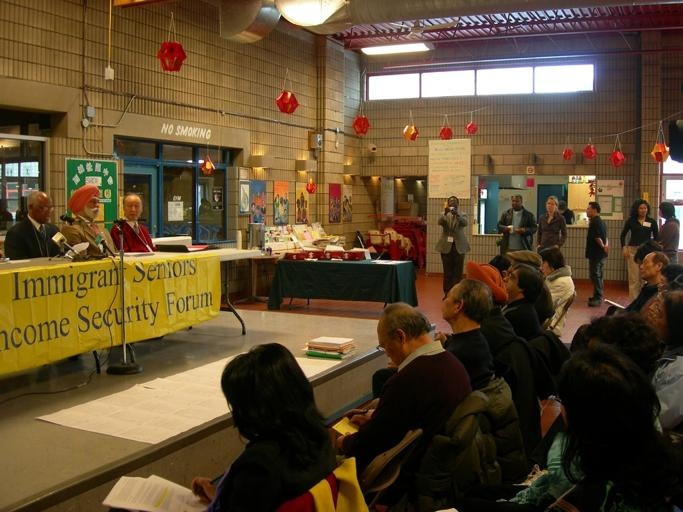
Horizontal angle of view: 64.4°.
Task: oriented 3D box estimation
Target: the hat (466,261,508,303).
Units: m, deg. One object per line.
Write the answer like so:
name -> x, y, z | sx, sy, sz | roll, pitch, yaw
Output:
hat -> 1.180, 0.212, 4.394 | 0.097, 0.260, 0.200 | -35, 1, 23

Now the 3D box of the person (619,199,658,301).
person -> 5.449, -0.013, 9.974 | 0.564, 1.980, 0.517 | 0, 6, 21

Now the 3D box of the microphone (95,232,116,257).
microphone -> -2.095, -0.096, 4.802 | 0.092, 0.184, 0.116 | -32, -26, 12

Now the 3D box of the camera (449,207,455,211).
camera -> 2.077, -0.875, 10.201 | 0.113, 0.062, 0.041 | -2, 5, -21

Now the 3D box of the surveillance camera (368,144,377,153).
surveillance camera -> 0.827, -2.866, 14.533 | 0.182, 0.223, 0.206 | -1, -24, -8
